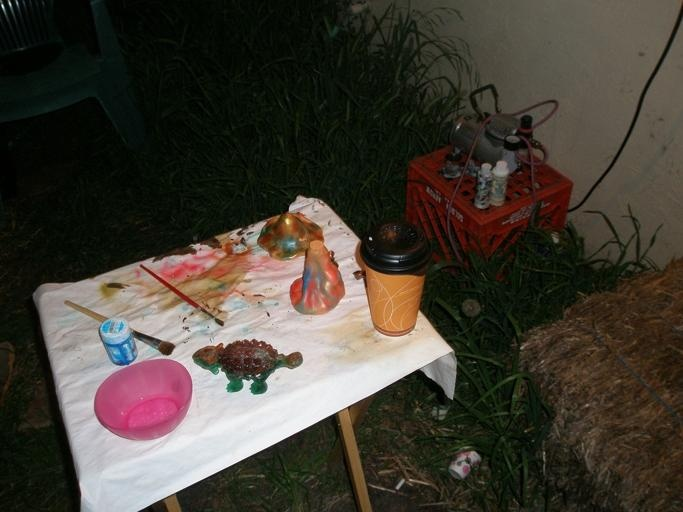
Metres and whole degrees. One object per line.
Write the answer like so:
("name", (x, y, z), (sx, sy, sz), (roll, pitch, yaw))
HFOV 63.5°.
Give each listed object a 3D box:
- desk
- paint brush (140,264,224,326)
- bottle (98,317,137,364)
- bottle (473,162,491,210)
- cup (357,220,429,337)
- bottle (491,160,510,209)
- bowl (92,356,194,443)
("desk", (-0.362, 0.282, 1.901), (1.142, 0.358, 0.956), (-22, 47, -21))
("paint brush", (-0.539, 0.139, 1.876), (0.281, 0.027, 0.034), (36, 68, 25))
("bottle", (-0.683, 0.268, 1.714), (0.081, 0.138, 0.087), (-2, 35, 1))
("bottle", (0.622, -0.305, 2.424), (0.083, 0.227, 0.096), (-2, 44, 2))
("cup", (0.163, 0.072, 1.698), (0.196, 0.337, 0.161), (-10, 42, -10))
("bottle", (0.696, -0.324, 2.427), (0.075, 0.200, 0.081), (-4, 40, 3))
("bowl", (-0.559, 0.428, 1.605), (0.247, 0.118, 0.264), (3, 27, -2))
